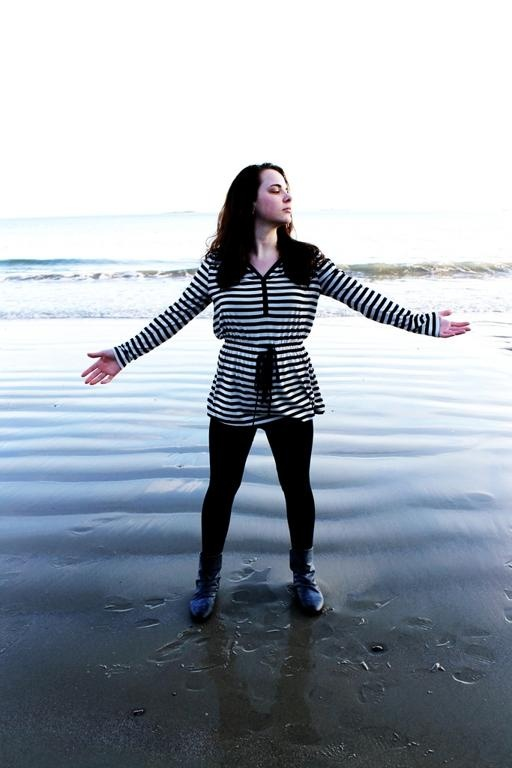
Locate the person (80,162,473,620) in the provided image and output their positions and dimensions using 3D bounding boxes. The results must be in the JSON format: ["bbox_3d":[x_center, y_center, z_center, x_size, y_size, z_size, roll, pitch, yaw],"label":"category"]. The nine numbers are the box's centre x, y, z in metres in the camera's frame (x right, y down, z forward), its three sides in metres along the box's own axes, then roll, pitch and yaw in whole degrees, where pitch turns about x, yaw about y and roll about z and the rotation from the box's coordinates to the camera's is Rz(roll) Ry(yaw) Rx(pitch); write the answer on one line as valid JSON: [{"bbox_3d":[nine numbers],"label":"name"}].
[{"bbox_3d":[0.159,0.028,2.863,0.777,1.832,0.469,2,12,-5],"label":"person"}]

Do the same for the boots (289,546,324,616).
[{"bbox_3d":[0.220,0.823,2.960,0.115,0.196,0.299,-6,9,-9],"label":"boots"}]
